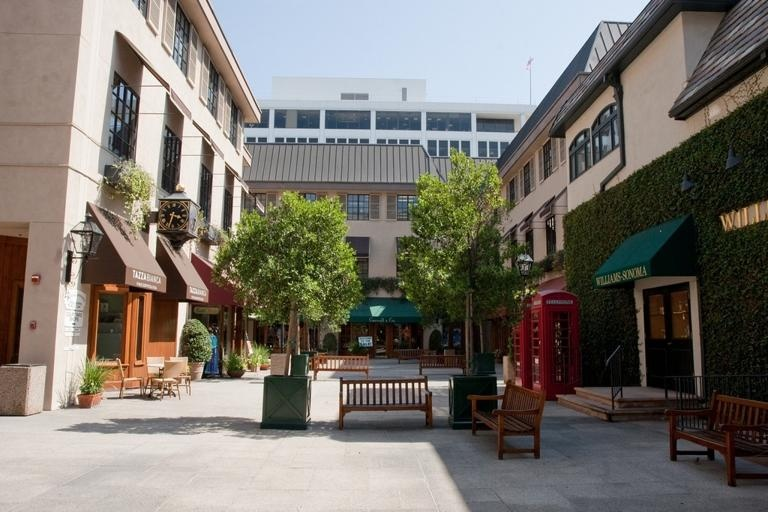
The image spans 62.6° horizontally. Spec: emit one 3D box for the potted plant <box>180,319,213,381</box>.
[{"bbox_3d":[-7.825,3.873,26.464,0.856,2.453,1.396,-3,-13,11],"label":"potted plant"}]

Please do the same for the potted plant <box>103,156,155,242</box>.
[{"bbox_3d":[-8.333,-2.052,21.007,0.886,2.118,1.563,-1,15,5],"label":"potted plant"}]

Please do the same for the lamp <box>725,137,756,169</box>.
[{"bbox_3d":[9.370,-2.722,16.725,0.576,0.653,0.593,3,-12,-14],"label":"lamp"}]

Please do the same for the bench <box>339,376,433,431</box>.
[{"bbox_3d":[0.044,3.969,16.986,2.425,1.337,0.815,0,-9,-5],"label":"bench"}]

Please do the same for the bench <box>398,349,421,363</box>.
[{"bbox_3d":[1.749,6.935,44.742,1.350,1.010,1.959,-3,-14,8],"label":"bench"}]

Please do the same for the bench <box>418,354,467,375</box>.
[{"bbox_3d":[3.237,5.981,35.321,2.340,1.161,2.437,-1,-14,0],"label":"bench"}]

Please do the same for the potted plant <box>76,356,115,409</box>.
[{"bbox_3d":[-8.899,3.833,19.288,0.671,1.573,1.215,6,-14,-25],"label":"potted plant"}]

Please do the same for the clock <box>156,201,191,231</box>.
[{"bbox_3d":[-7.745,-1.488,23.357,0.945,1.030,0.437,0,-13,-5],"label":"clock"}]

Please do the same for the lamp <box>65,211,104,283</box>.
[{"bbox_3d":[-8.830,-0.291,18.769,1.139,2.076,0.919,-10,-16,35],"label":"lamp"}]
